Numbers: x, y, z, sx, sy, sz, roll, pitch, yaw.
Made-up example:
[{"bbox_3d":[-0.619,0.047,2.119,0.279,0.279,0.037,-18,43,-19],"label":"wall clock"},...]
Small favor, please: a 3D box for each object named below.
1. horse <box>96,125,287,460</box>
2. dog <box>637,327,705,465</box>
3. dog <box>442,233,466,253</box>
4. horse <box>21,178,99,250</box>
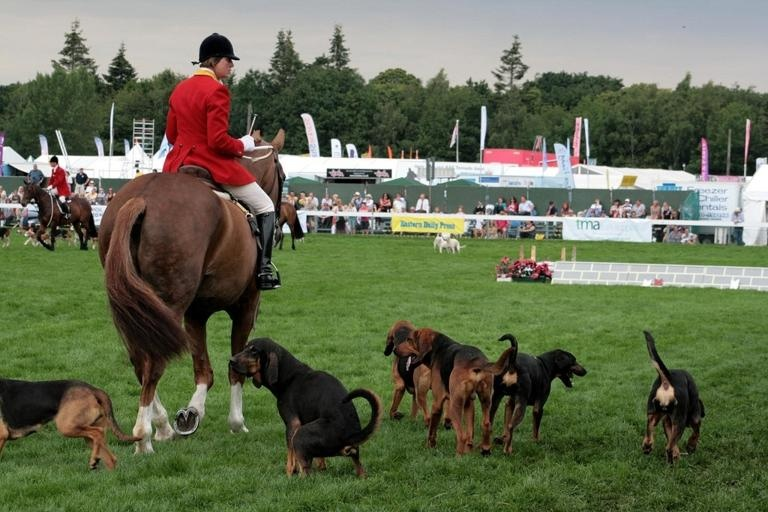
[{"bbox_3d":[-5.034,1.076,36.905,3.405,9.222,11.752,2,0,15],"label":"horse"},{"bbox_3d":[7.576,3.670,33.633,1.526,3.279,0.759,-1,5,-26],"label":"dog"},{"bbox_3d":[2.889,-0.493,52.152,1.131,0.817,0.555,3,3,-24],"label":"dog"},{"bbox_3d":[-12.285,-1.420,49.106,0.963,2.443,3.827,-5,-3,34],"label":"horse"}]
